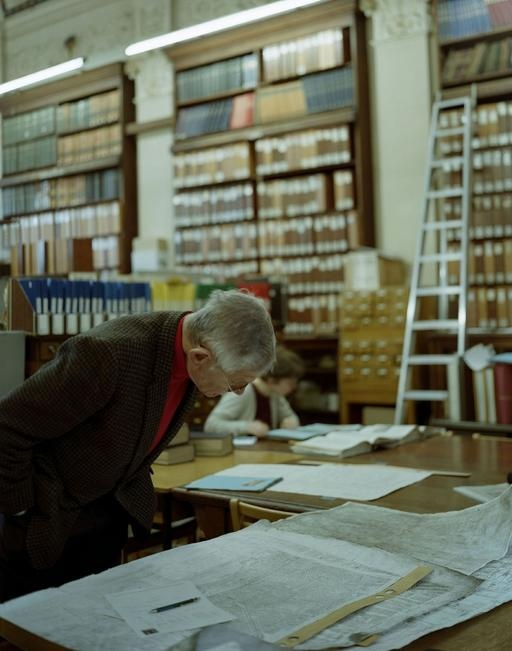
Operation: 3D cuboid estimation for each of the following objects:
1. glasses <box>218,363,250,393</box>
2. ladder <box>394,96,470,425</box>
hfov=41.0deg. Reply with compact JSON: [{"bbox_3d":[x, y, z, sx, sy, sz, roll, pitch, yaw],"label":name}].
[{"bbox_3d":[-0.046,0.119,1.430,0.058,0.026,0.056,32,-1,20],"label":"glasses"},{"bbox_3d":[1.101,-0.497,4.166,0.451,2.160,1.760,-2,-1,18],"label":"ladder"}]
